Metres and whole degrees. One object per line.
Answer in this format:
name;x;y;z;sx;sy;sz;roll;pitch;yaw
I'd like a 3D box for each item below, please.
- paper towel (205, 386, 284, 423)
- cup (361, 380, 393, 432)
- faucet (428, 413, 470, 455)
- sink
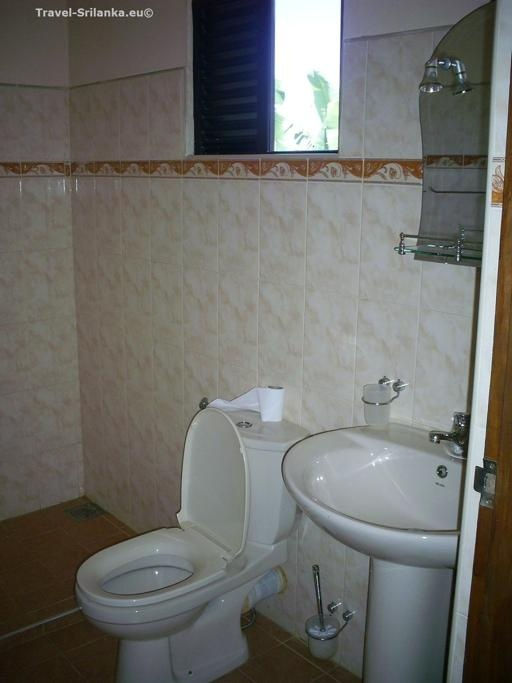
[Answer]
paper towel;-0.033;0.187;1.848;0.292;0.160;0.102;10;12;42
cup;0.305;0.161;1.456;0.065;0.121;0.108;0;7;3
faucet;0.416;0.196;1.239;0.083;0.171;0.068;1;8;14
sink;0.260;0.306;1.316;0.341;0.204;0.401;-6;22;-25
